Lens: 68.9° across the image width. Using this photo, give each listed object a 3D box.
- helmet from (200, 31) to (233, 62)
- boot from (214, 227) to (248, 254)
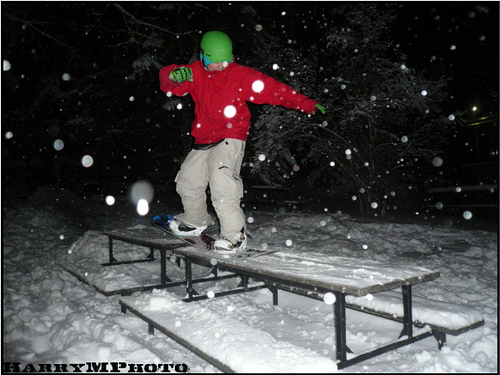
[{"bbox_3d":[-0.408,-1.710,4.479,0.311,0.285,0.383,-33,53,-32],"label":"helmet"},{"bbox_3d":[-0.201,0.653,4.583,0.222,0.304,0.681,0,-4,30],"label":"boot"}]
